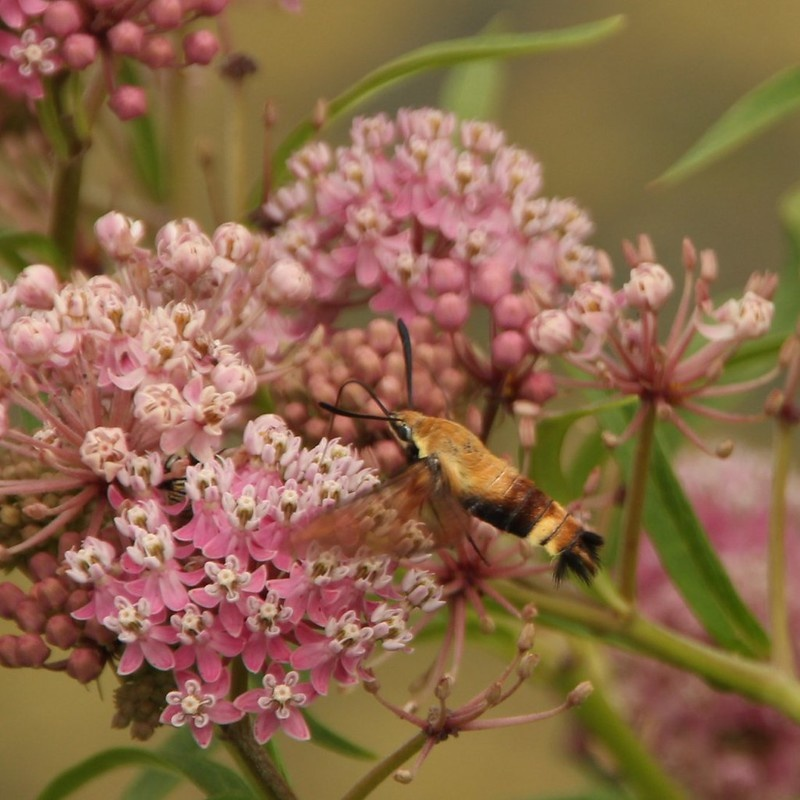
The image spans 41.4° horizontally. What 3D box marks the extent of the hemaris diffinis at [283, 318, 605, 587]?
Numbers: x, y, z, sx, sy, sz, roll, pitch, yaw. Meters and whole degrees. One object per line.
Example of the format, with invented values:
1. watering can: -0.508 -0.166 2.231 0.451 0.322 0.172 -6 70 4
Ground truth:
1. hemaris diffinis: 0.065 0.158 1.299 0.286 0.168 0.344 27 28 18
